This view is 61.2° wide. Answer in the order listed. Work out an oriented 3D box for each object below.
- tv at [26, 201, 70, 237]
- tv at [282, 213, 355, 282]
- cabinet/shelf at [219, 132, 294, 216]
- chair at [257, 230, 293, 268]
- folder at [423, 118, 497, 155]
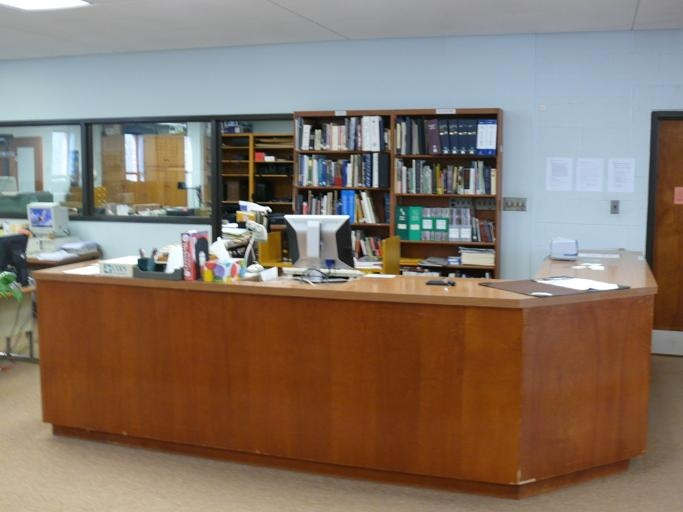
[{"bbox_3d":[-3.595,-0.449,7.250,0.586,0.503,0.409,1,4,14],"label":"tv"},{"bbox_3d":[-0.165,-0.055,4.256,0.564,0.462,0.205,1,15,15],"label":"tv"},{"bbox_3d":[-1.204,-1.165,8.050,1.447,1.419,0.427,1,1,1],"label":"cabinet/shelf"},{"bbox_3d":[-0.708,-0.064,6.084,0.345,0.412,0.657,1,4,11],"label":"chair"},{"bbox_3d":[1.268,-1.231,6.040,0.722,0.354,0.141,4,14,18],"label":"folder"}]
